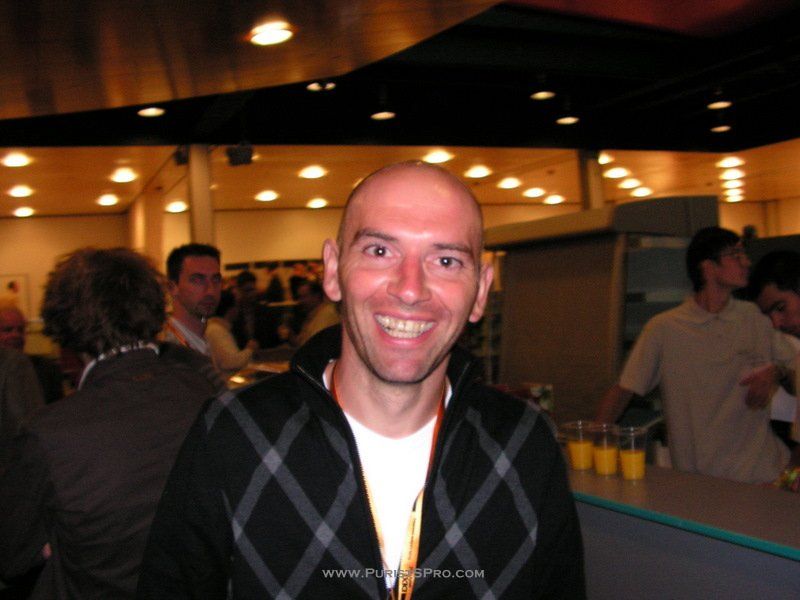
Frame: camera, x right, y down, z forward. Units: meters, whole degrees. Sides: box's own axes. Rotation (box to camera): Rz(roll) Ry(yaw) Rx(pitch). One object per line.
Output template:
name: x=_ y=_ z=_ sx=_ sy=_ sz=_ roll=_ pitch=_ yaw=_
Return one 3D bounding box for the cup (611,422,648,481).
cup: x=0.852 y=0.577 z=2.491 sx=0.140 sy=0.166 sz=0.138 roll=-3 pitch=-4 yaw=0

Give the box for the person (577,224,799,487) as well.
person: x=1.282 y=0.250 z=2.960 sx=1.104 sy=1.253 sz=0.429 roll=-9 pitch=4 yaw=-4

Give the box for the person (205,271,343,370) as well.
person: x=-1.016 y=0.178 z=4.814 sx=0.724 sy=0.297 sz=0.879 roll=3 pitch=16 yaw=-6
